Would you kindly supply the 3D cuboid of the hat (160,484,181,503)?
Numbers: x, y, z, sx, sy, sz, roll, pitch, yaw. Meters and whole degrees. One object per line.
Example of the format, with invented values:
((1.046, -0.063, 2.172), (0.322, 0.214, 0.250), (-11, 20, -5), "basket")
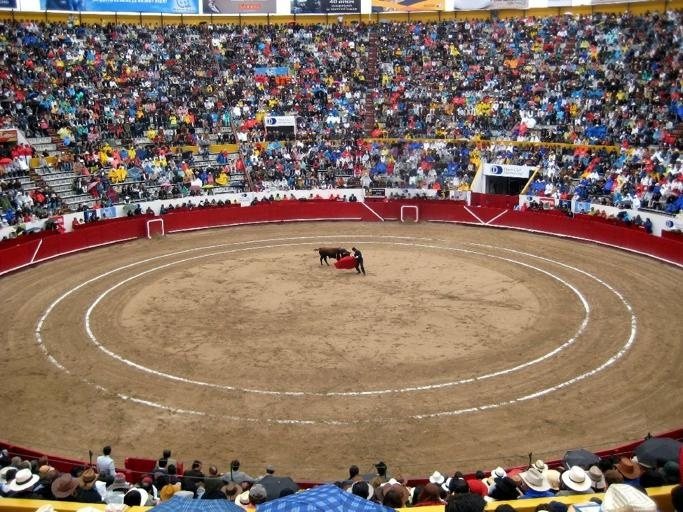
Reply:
((-4.598, 6.242, 18.481), (0.357, 0.349, 0.547), (14, 30, 30), "hat")
